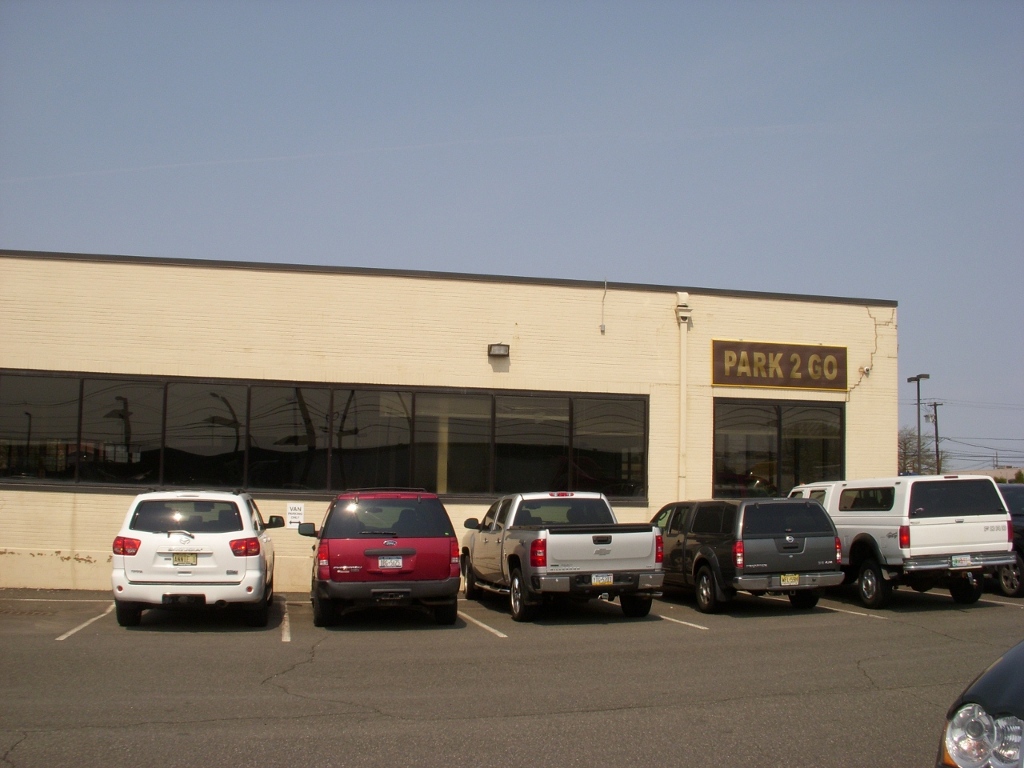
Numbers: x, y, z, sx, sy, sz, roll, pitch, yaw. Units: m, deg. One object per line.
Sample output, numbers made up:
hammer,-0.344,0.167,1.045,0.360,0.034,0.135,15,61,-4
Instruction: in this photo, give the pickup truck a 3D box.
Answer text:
pickup truck,0.602,2.978,19.947,1.795,1.230,3.421,2,-4,-17

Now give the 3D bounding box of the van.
van,7.452,2.875,20.544,3.207,2.392,1.952,-4,-5,30
